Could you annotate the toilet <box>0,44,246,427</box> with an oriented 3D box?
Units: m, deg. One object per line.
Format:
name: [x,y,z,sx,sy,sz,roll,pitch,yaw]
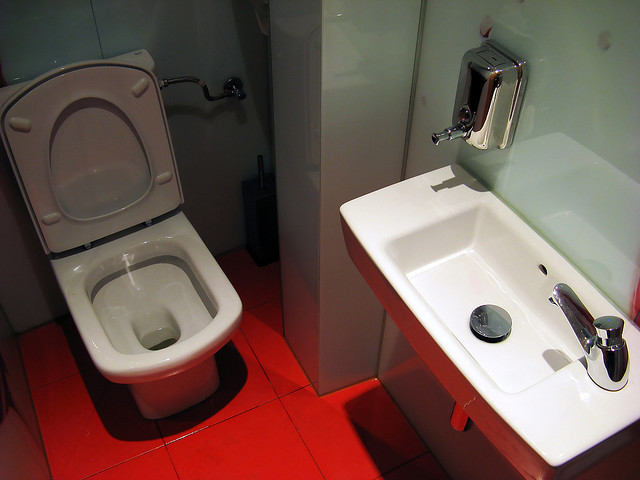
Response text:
toilet: [-0.675,-0.002,1.612,0.515,1.091,0.874,-20,49,-21]

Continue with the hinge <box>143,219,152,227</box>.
hinge: [-0.604,-0.061,1.699,0.018,0.020,0.034,-14,7,-14]

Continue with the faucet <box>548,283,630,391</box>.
faucet: [0.480,0.172,0.851,0.050,0.103,0.160,-17,46,-8]
